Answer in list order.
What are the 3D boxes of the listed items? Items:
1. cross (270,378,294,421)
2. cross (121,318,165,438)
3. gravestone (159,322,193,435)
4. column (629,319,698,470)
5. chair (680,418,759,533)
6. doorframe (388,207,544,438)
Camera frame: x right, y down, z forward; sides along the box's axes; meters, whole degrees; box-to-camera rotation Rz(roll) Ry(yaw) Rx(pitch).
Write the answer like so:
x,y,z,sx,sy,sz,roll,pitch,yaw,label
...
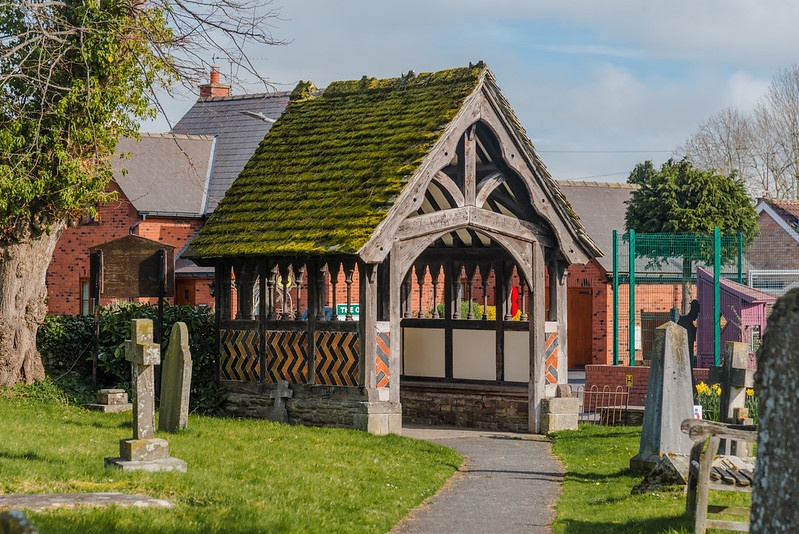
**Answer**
x,y,z,sx,sy,sz,roll,pitch,yaw,label
-2.799,3.187,33.268,0.521,0.957,0.229,-3,-9,25,cross
-5.226,2.278,28.704,0.592,2.491,1.062,4,-9,-19,cross
-4.913,2.519,30.937,0.226,2.439,1.181,3,3,-36,gravestone
5.570,2.646,29.778,1.299,2.879,1.252,-3,-1,-33,column
5.752,3.823,25.724,1.268,1.983,2.151,-1,-9,13,chair
2.329,1.280,35.745,2.686,3.482,0.062,2,-1,27,doorframe
